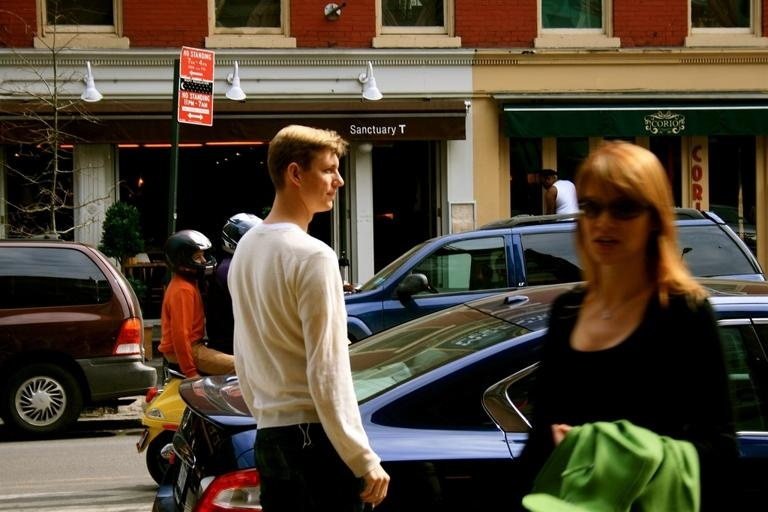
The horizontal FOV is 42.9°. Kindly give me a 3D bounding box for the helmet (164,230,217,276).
[{"bbox_3d":[-2.037,-0.030,10.362,0.495,0.414,0.383,2,1,-3],"label":"helmet"}]

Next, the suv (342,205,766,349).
[{"bbox_3d":[2.037,0.121,12.704,4.615,1.789,2.103,-1,0,4],"label":"suv"}]

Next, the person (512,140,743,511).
[{"bbox_3d":[1.632,0.375,6.536,1.298,2.320,0.424,-2,0,20],"label":"person"}]

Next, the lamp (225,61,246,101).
[{"bbox_3d":[-2.571,-3.053,16.959,0.382,0.719,0.860,-2,1,-9],"label":"lamp"}]

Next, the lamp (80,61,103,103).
[{"bbox_3d":[-5.037,-3.018,16.828,0.378,0.742,0.774,-2,1,-16],"label":"lamp"}]

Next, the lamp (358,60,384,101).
[{"bbox_3d":[-0.263,-3.139,17.193,0.356,0.545,0.837,-7,34,-14],"label":"lamp"}]
